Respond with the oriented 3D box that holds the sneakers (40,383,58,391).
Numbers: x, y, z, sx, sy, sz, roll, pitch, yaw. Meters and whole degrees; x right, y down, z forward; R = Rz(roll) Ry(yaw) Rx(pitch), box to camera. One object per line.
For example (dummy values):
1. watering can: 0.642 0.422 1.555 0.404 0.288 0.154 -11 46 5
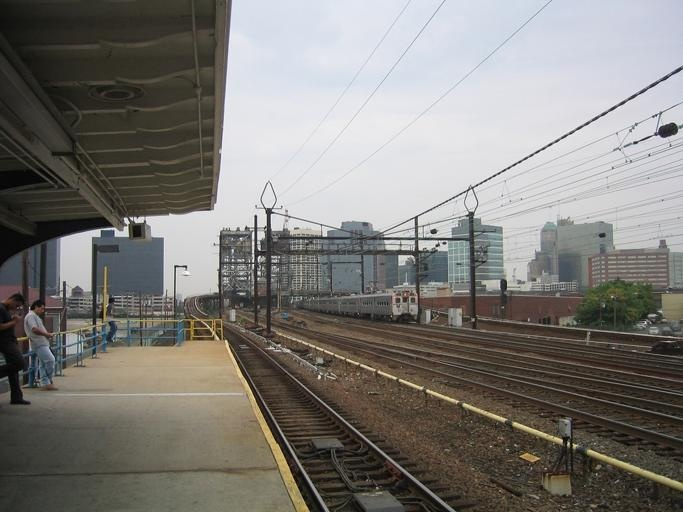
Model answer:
1. sneakers: -6.271 2.793 12.416 0.410 0.168 0.139 1 4 -11
